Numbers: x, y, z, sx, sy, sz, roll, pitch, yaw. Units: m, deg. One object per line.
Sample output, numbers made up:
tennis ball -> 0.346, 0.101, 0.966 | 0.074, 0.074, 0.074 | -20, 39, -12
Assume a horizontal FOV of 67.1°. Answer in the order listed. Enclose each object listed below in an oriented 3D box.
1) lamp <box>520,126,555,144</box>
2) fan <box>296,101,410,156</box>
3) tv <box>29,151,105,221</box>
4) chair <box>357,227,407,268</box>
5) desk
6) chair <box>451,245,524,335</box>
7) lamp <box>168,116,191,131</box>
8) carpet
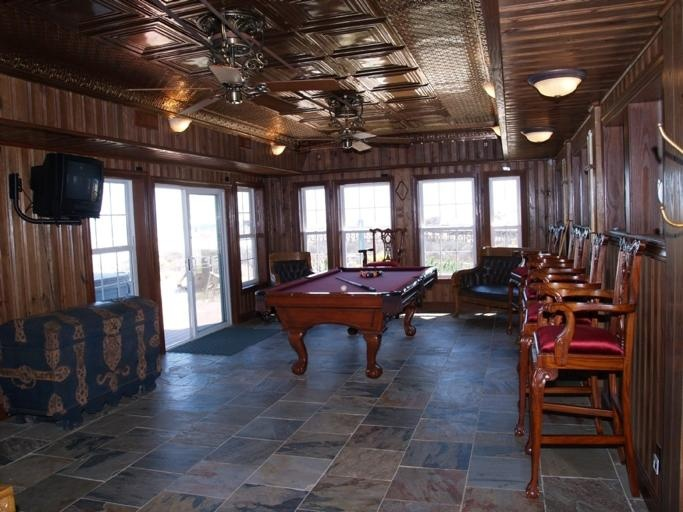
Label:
lamp -> 2.343, -1.456, 6.189 | 0.289, 0.079, 0.243 | 0, 2, -12
fan -> 0.232, -1.728, 6.834 | 1.364, 0.408, 1.136 | 0, 2, -5
tv -> -2.907, -0.748, 5.667 | 0.911, 0.689, 0.832 | 2, 6, 6
chair -> 0.798, -0.132, 9.528 | 1.006, 1.014, 0.819 | -1, -4, 15
desk -> 0.118, 0.397, 6.030 | 1.618, 0.731, 2.334 | -2, 5, 19
chair -> 2.450, 0.489, 8.471 | 1.128, 0.851, 0.967 | 4, 21, 32
lamp -> -2.006, -1.628, 6.402 | 0.281, 0.155, 0.255 | -2, 2, -10
carpet -> -1.734, 1.297, 8.013 | 1.140, 0.063, 1.790 | -1, 7, 17
